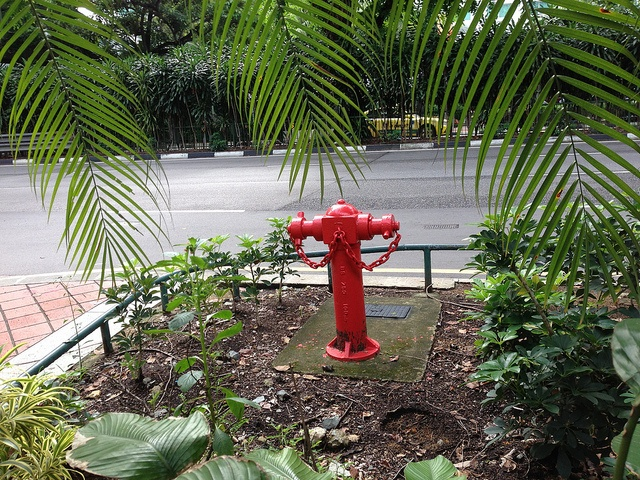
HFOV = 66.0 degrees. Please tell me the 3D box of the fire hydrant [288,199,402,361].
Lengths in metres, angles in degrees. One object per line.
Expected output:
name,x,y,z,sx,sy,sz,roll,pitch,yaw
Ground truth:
fire hydrant,0.174,0.288,3.789,0.827,1.203,0.443,3,15,8
